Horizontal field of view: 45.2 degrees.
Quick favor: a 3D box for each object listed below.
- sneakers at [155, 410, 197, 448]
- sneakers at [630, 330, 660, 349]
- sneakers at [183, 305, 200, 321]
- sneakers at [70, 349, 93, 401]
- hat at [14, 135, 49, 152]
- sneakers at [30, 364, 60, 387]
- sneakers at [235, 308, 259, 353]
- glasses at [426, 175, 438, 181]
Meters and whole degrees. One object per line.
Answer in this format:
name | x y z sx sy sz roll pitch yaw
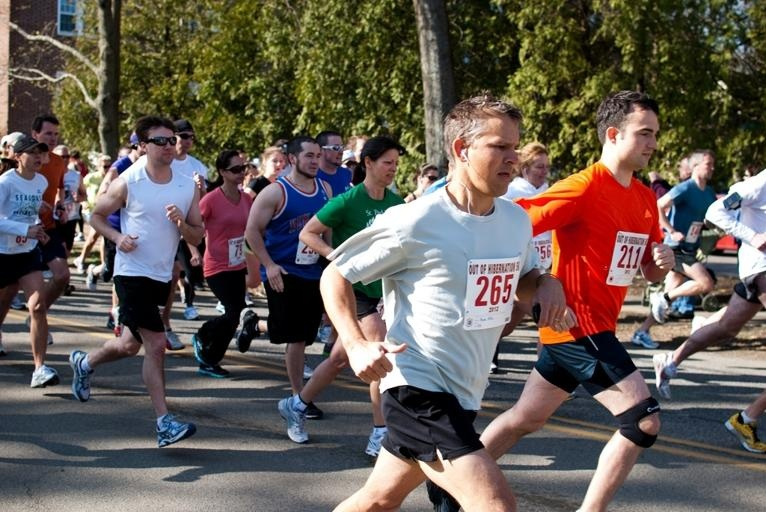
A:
sneakers | -1.846 1.530 8.164 0.439 0.281 0.156 -24 -25 30
sneakers | 3.379 1.078 11.998 0.409 0.186 0.170 15 8 10
sneakers | -2.774 0.810 13.131 0.266 0.152 0.136 0 1 21
sneakers | -2.985 1.186 9.235 0.249 0.543 0.192 -7 3 23
hat | -3.733 -1.171 9.726 0.308 0.145 0.222 -7 0 16
sneakers | -3.491 1.253 9.523 0.376 0.186 0.147 -19 -36 32
sneakers | -1.450 0.792 10.131 0.242 0.217 0.554 24 -31 14
glasses | 0.621 -1.027 11.972 0.186 0.066 0.177 -2 -6 -3
